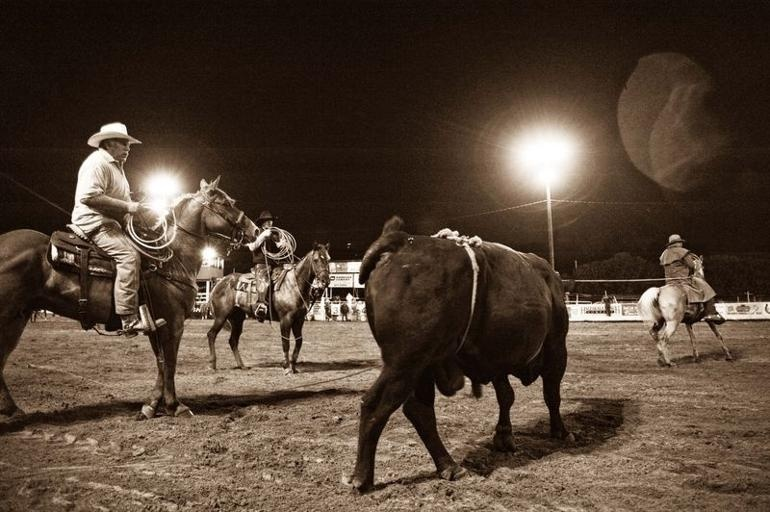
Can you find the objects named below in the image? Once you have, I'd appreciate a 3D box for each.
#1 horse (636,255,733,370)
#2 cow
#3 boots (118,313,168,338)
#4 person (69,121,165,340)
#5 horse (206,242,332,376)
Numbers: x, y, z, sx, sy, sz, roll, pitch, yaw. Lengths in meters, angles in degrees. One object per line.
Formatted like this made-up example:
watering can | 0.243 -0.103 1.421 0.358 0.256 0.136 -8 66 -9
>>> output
horse | 7.905 1.606 16.925 0.681 2.162 2.902 3 -4 -9
cow | 1.173 1.751 9.336 3.892 2.623 1.245 10 -20 -42
boots | -4.305 1.194 10.711 1.011 0.406 0.296 4 -4 -27
person | -4.640 -0.479 10.658 1.316 3.621 0.836 3 7 24
horse | -3.104 1.449 16.594 4.456 3.275 1.226 -7 -9 30
